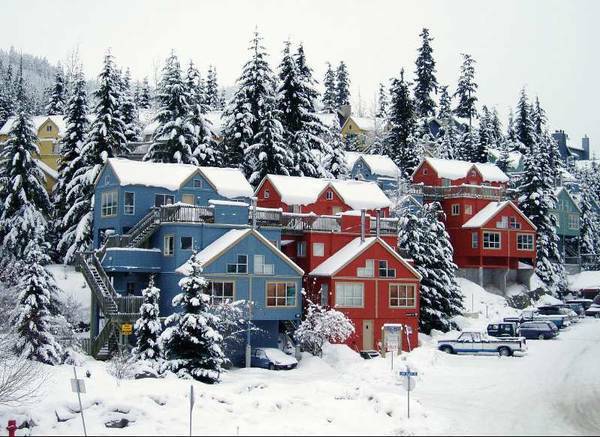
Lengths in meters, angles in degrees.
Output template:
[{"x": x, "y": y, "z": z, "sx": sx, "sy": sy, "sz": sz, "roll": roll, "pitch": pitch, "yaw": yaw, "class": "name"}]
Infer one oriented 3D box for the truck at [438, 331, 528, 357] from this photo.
[{"x": 14.223, "y": 9.910, "z": 68.886, "sx": 4.434, "sy": 1.709, "sz": 2.843, "roll": 1, "pitch": -5, "yaw": 12, "class": "truck"}]
